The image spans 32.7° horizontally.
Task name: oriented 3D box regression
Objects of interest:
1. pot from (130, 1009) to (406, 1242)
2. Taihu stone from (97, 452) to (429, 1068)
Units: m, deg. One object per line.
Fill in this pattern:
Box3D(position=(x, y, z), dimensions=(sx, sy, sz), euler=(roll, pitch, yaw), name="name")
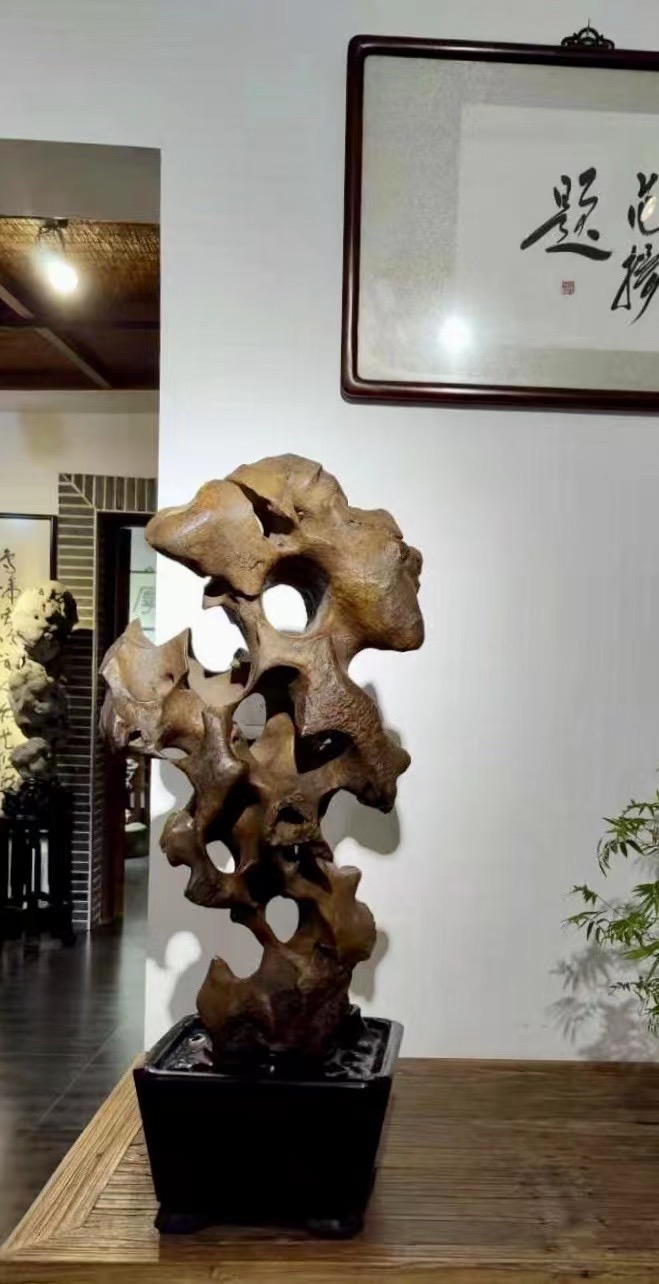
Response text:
Box3D(position=(-0.049, 0.445, 1.067), dimensions=(0.233, 0.159, 0.175), euler=(-1, 1, 3), name="pot")
Box3D(position=(-0.040, 0.100, 1.079), dimensions=(0.267, 0.557, 0.173), euler=(-1, 1, -18), name="Taihu stone")
